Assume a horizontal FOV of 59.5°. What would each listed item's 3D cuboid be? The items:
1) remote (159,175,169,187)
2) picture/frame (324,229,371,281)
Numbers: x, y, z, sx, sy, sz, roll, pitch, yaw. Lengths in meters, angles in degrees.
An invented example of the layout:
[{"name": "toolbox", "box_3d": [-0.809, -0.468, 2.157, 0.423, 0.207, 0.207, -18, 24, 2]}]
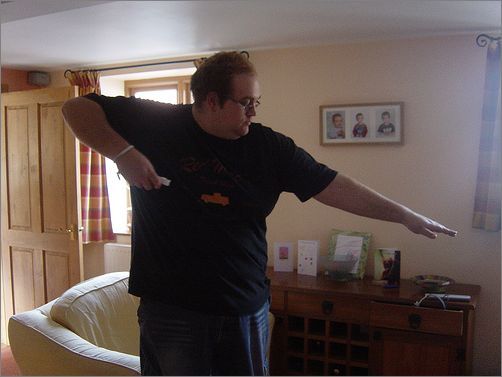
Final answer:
[{"name": "remote", "box_3d": [-0.373, -0.033, 1.891, 0.048, 0.044, 0.105, 13, -9, -6]}, {"name": "picture/frame", "box_3d": [0.793, 0.539, 3.521, 0.371, 0.460, 0.034, 5, -22, 25]}]
